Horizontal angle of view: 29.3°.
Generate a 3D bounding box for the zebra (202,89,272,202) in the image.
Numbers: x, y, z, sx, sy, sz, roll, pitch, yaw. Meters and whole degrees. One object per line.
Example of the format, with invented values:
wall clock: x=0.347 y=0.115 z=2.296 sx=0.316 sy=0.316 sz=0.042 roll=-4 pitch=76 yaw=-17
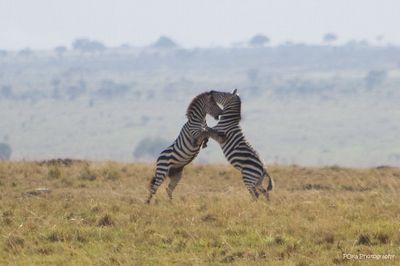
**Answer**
zebra: x=1.601 y=0.540 z=31.798 sx=2.633 sy=4.455 sz=1.439 roll=1 pitch=11 yaw=4
